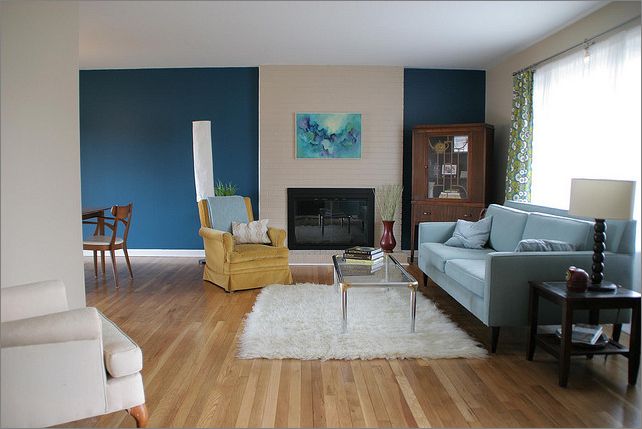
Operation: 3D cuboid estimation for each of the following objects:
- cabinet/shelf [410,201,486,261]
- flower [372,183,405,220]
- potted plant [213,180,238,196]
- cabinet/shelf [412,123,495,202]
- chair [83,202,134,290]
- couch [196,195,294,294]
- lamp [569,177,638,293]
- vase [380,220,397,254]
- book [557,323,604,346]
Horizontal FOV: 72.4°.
[{"bbox_3d":[1.721,0.197,5.803,0.890,0.754,0.346,1,1,14],"label":"cabinet/shelf"},{"bbox_3d":[0.979,-0.209,7.164,0.558,0.717,0.528,2,4,18],"label":"flower"},{"bbox_3d":[-1.500,-0.406,6.902,0.310,0.271,0.306,4,-6,-26],"label":"potted plant"},{"bbox_3d":[2.023,-0.804,6.669,1.166,1.365,0.472,1,2,11],"label":"cabinet/shelf"},{"bbox_3d":[-2.887,0.370,5.801,0.694,0.936,0.702,3,5,24],"label":"chair"},{"bbox_3d":[-0.950,0.394,6.079,1.035,1.342,1.331,-1,2,-33],"label":"couch"},{"bbox_3d":[2.329,0.162,3.651,0.479,0.910,0.355,2,9,14],"label":"lamp"},{"bbox_3d":[1.061,0.352,6.909,0.227,0.527,0.240,1,9,4],"label":"vase"},{"bbox_3d":[2.176,0.992,3.646,0.209,0.066,0.220,-1,4,0],"label":"book"}]
